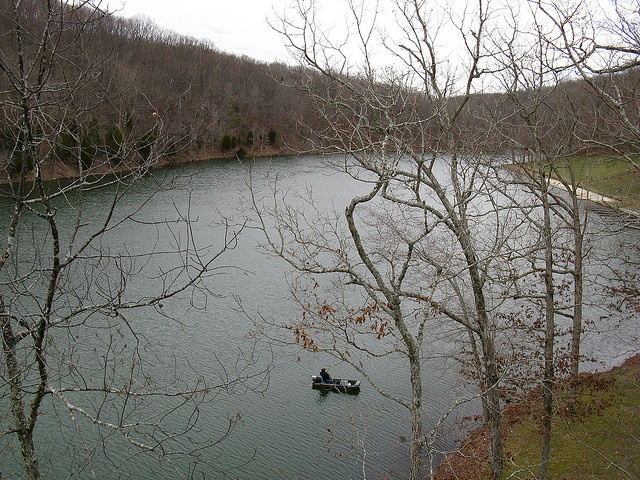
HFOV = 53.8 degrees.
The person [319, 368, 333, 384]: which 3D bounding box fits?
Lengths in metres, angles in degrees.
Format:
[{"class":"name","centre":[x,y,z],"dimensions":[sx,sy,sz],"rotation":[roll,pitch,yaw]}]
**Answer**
[{"class":"person","centre":[0.315,6.151,28.645],"dimensions":[0.547,0.678,0.836],"rotation":[6,1,4]}]
